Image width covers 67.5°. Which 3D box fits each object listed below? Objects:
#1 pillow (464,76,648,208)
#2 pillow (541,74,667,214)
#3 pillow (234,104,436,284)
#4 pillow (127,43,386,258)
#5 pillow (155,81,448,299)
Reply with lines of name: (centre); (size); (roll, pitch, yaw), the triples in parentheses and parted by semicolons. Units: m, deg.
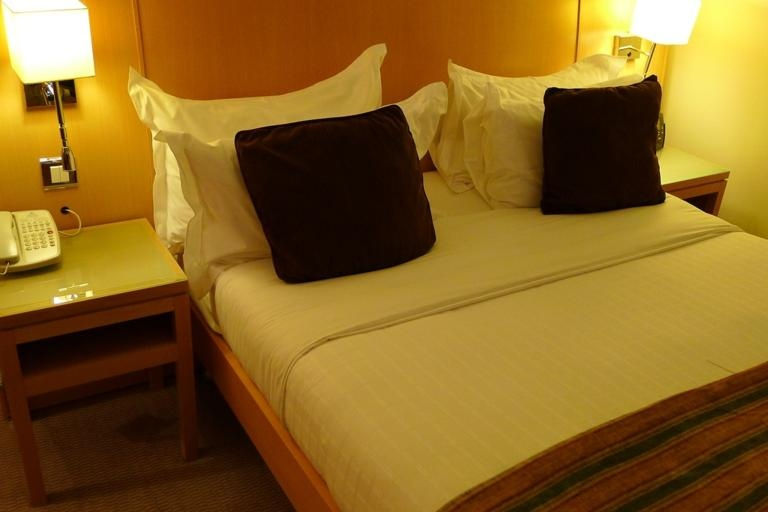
pillow: (0.803, -0.505, 2.691); (0.542, 0.613, 0.179); (0, -5, 0)
pillow: (1.005, -0.499, 2.667); (0.603, 0.654, 0.223); (-7, 8, -11)
pillow: (-0.095, -0.239, 2.332); (0.824, 0.797, 0.235); (-25, 33, -20)
pillow: (-0.553, -0.395, 2.303); (0.767, 0.602, 0.137); (-17, 4, -23)
pillow: (-0.345, -0.342, 2.477); (1.059, 0.333, 0.755); (-10, 53, -12)
